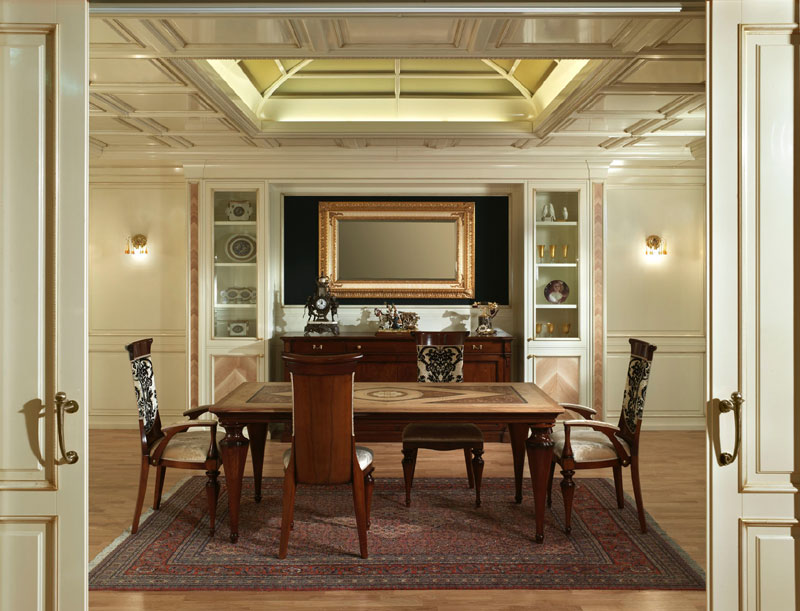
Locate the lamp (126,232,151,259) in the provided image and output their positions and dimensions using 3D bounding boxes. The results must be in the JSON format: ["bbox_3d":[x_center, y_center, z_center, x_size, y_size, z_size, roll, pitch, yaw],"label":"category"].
[{"bbox_3d":[-2.706,-0.610,6.407,0.229,0.263,0.060,0,7,3],"label":"lamp"}]

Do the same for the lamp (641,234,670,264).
[{"bbox_3d":[2.628,-0.581,6.423,0.250,0.280,0.071,4,3,2],"label":"lamp"}]
